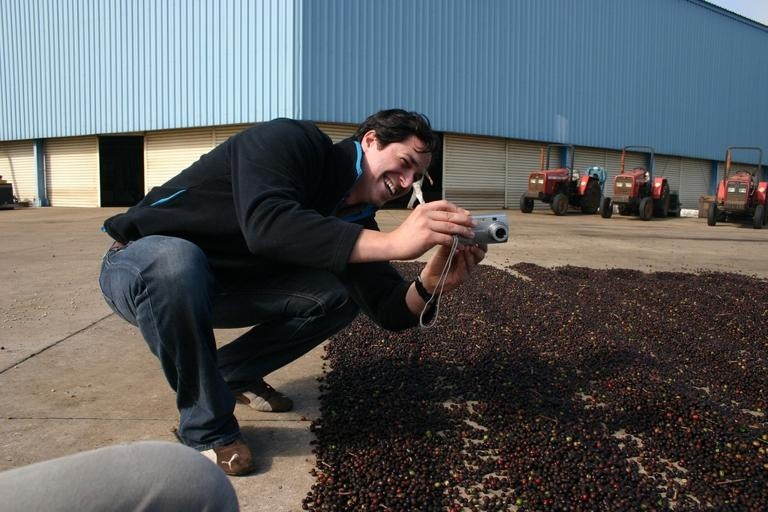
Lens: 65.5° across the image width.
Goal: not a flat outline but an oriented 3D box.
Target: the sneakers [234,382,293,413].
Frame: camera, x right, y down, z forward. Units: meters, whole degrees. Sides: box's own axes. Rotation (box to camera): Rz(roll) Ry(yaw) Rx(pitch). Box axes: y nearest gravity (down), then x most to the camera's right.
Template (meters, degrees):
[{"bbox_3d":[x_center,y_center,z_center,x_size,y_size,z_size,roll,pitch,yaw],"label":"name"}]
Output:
[{"bbox_3d":[-0.731,0.895,3.719,0.378,0.182,0.171,4,6,16],"label":"sneakers"}]

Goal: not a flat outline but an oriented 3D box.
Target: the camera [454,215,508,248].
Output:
[{"bbox_3d":[0.564,-0.137,3.403,0.276,0.196,0.384,2,9,11],"label":"camera"}]

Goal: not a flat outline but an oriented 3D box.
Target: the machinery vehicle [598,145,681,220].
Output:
[{"bbox_3d":[6.499,-1.831,15.212,1.184,1.834,2.444,5,6,38],"label":"machinery vehicle"}]

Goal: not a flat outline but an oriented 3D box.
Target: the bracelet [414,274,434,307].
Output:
[{"bbox_3d":[0.240,0.219,3.668,0.103,0.162,0.059,10,24,23],"label":"bracelet"}]

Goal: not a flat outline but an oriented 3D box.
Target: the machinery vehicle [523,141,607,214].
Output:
[{"bbox_3d":[4.710,-1.879,15.794,2.315,1.682,1.362,0,5,-36],"label":"machinery vehicle"}]
